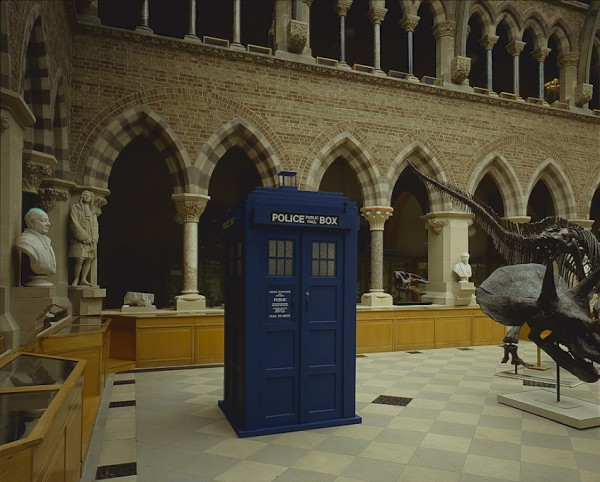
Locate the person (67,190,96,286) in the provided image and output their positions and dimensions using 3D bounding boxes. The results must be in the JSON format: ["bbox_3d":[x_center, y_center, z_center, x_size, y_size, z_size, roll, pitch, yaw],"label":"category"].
[{"bbox_3d":[-3.989,-0.045,10.907,0.485,1.730,0.608,-1,3,-22],"label":"person"}]

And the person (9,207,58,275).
[{"bbox_3d":[-3.362,0.032,7.518,0.410,0.872,0.535,3,4,43],"label":"person"}]
